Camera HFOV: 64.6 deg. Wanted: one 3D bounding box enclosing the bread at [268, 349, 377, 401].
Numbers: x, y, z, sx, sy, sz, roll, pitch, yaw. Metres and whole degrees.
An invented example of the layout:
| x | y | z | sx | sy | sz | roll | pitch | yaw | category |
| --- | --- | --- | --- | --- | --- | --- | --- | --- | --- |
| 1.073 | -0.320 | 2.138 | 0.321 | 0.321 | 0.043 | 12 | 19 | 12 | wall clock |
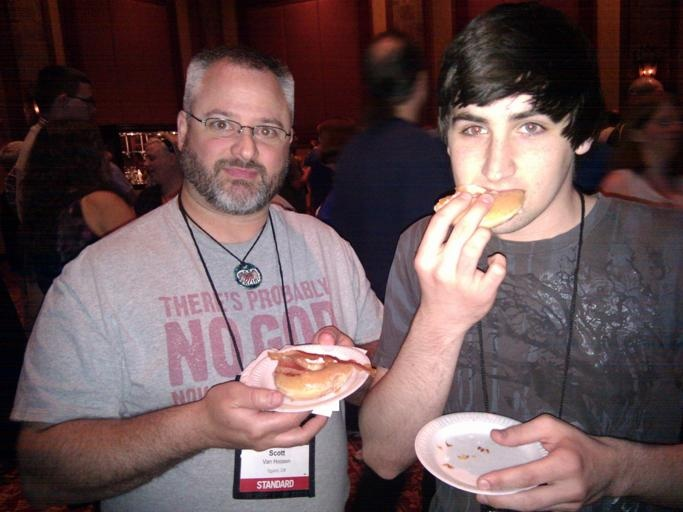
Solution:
| x | y | z | sx | sy | sz | roll | pitch | yaw | category |
| --- | --- | --- | --- | --- | --- | --- | --- | --- | --- |
| -0.131 | 0.520 | 2.383 | 0.276 | 0.072 | 0.309 | -3 | 6 | -45 | bread |

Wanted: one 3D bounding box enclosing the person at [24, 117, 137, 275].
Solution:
| x | y | z | sx | sy | sz | roll | pitch | yaw | category |
| --- | --- | --- | --- | --- | --- | --- | --- | --- | --- |
| -1.830 | -0.500 | 4.113 | 0.521 | 0.788 | 0.855 | -11 | 30 | -18 | person |

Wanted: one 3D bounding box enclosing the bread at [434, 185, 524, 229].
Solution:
| x | y | z | sx | sy | sz | roll | pitch | yaw | category |
| --- | --- | --- | --- | --- | --- | --- | --- | --- | --- |
| 0.680 | -0.187 | 2.404 | 0.344 | 0.078 | 0.257 | 22 | -1 | 27 | bread |

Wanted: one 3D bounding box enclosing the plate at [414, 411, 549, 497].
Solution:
| x | y | z | sx | sy | sz | roll | pitch | yaw | category |
| --- | --- | --- | --- | --- | --- | --- | --- | --- | --- |
| 0.558 | 0.791 | 2.156 | 0.514 | 0.184 | 0.361 | -2 | 12 | -2 | plate |

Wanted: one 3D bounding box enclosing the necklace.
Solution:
| x | y | z | sx | sy | sz | roll | pitch | yaw | category |
| --- | --- | --- | --- | --- | --- | --- | --- | --- | --- |
| -0.626 | -0.069 | 2.766 | 0.526 | 0.582 | 0.034 | -20 | -12 | -43 | necklace |
